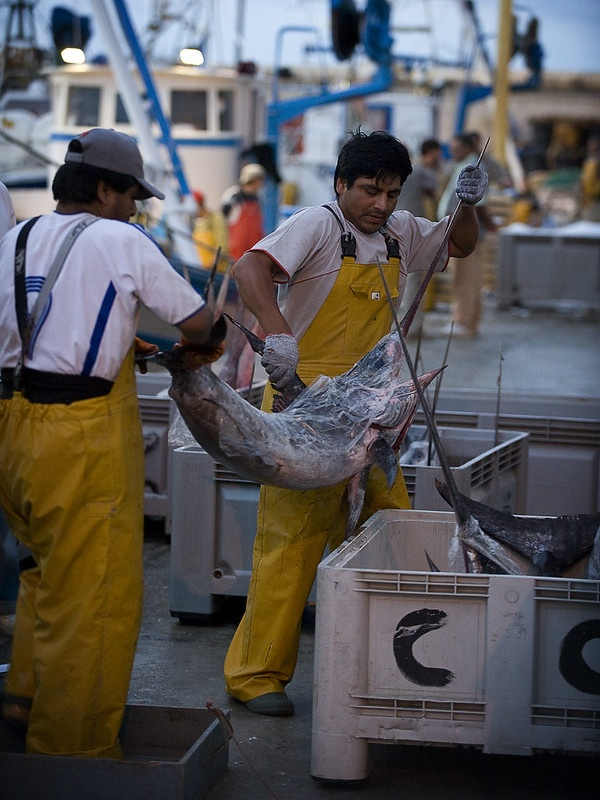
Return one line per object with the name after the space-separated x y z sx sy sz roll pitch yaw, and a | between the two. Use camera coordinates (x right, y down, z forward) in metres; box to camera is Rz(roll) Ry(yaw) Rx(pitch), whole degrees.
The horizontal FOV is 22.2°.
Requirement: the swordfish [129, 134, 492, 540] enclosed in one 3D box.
-0.274 -0.095 4.844 0.625 1.142 1.709 10 26 44 | swordfish

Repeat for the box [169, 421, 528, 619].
0.110 0.314 6.045 1.190 0.757 0.948 2 17 4 | box

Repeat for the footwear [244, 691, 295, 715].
-0.093 0.955 4.829 0.136 0.060 0.069 -6 -5 16 | footwear

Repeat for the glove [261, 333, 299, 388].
-0.053 -0.118 4.603 0.116 0.154 0.057 -3 13 -40 | glove

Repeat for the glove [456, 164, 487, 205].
0.565 -0.693 4.982 0.096 0.128 0.049 -1 0 -16 | glove
